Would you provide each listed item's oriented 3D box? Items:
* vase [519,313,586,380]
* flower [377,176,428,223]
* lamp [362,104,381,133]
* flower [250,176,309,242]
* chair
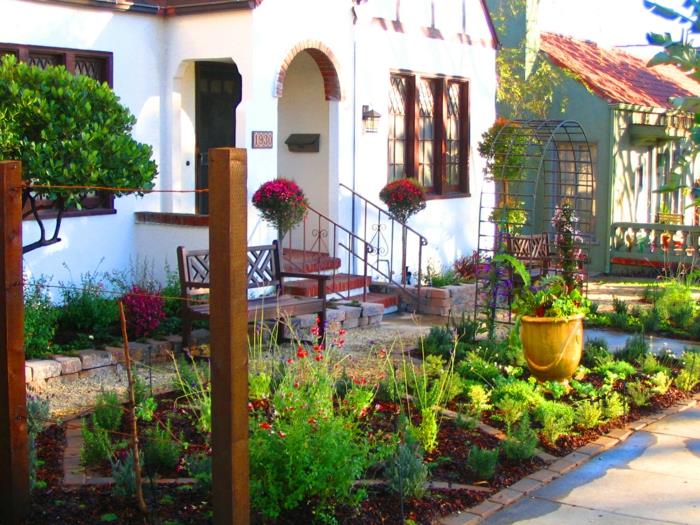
[{"bbox_3d":[2.039,0.813,6.920,0.500,0.648,0.571,-3,3,-9],"label":"vase"},{"bbox_3d":[0.896,-1.247,11.928,0.600,0.911,0.739,-4,12,-15],"label":"flower"},{"bbox_3d":[0.427,-2.514,11.773,0.314,0.489,0.378,0,2,39],"label":"lamp"},{"bbox_3d":[-1.008,-0.782,9.952,0.769,1.050,0.787,3,-1,37],"label":"flower"},{"bbox_3d":[2.410,0.052,9.074,0.337,0.694,0.936,3,7,27],"label":"chair"}]
